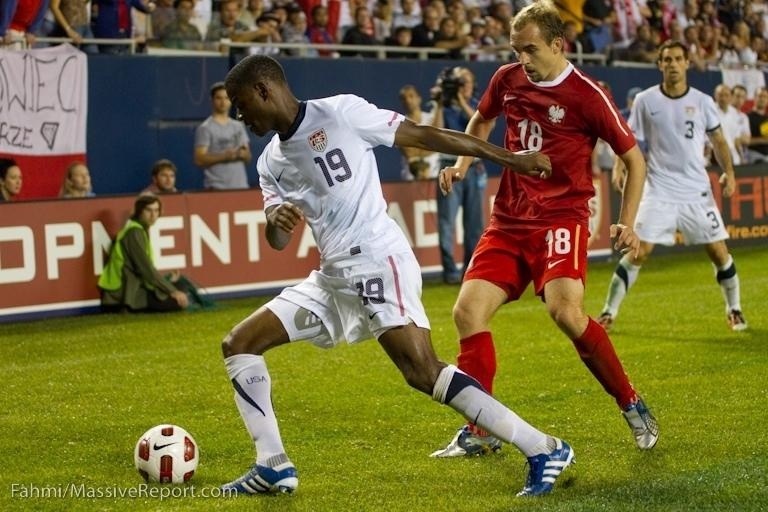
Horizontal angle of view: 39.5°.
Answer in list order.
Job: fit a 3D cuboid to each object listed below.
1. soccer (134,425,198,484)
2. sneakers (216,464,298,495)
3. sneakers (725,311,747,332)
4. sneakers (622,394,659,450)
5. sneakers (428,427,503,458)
[{"bbox_3d":[-1.593,1.472,7.872,0.426,0.474,0.408,1,-3,-9],"label":"soccer"},{"bbox_3d":[-0.902,1.602,7.745,0.587,0.263,0.224,0,-10,4],"label":"sneakers"},{"bbox_3d":[3.531,0.645,10.660,0.119,0.241,0.095,-10,-29,9],"label":"sneakers"},{"bbox_3d":[1.983,1.302,8.202,0.213,0.177,0.524,22,30,-22],"label":"sneakers"},{"bbox_3d":[0.620,1.433,8.275,0.593,0.305,0.224,-1,-5,2],"label":"sneakers"}]
